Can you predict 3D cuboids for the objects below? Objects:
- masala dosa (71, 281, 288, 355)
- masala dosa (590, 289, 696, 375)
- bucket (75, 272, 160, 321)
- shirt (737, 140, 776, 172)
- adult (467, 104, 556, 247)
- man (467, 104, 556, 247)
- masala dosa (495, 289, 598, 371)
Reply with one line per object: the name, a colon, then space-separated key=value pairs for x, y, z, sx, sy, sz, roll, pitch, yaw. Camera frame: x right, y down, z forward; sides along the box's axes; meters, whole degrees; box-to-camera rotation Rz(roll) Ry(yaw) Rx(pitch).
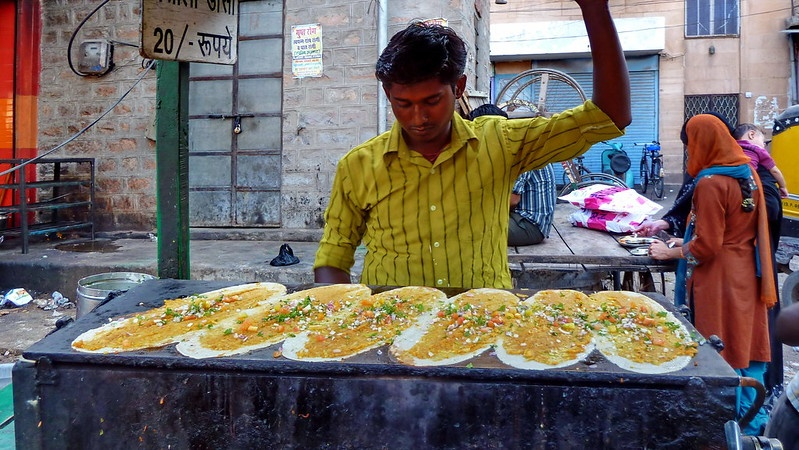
masala dosa: x=-1.799 y=0.643 z=5.965 sx=1.529 sy=0.023 sz=0.611 roll=-14 pitch=24 yaw=-38
masala dosa: x=2.066 y=0.892 z=5.832 sx=0.832 sy=0.405 sz=0.809 roll=3 pitch=14 yaw=13
bucket: x=-2.910 y=0.669 z=7.004 sx=0.664 sy=0.630 sz=0.624 roll=3 pitch=5 yaw=0
shirt: x=3.982 y=-0.769 z=7.763 sx=0.198 sy=0.272 sz=0.610 roll=22 pitch=18 yaw=24
adult: x=1.019 y=-0.484 z=8.393 sx=1.317 sy=1.638 sz=1.498 roll=-9 pitch=14 yaw=7
man: x=1.382 y=-0.541 z=8.364 sx=1.317 sy=1.638 sz=1.498 roll=-9 pitch=14 yaw=7
masala dosa: x=1.301 y=0.897 z=5.804 sx=1.048 sy=0.364 sz=0.615 roll=-11 pitch=17 yaw=-36
